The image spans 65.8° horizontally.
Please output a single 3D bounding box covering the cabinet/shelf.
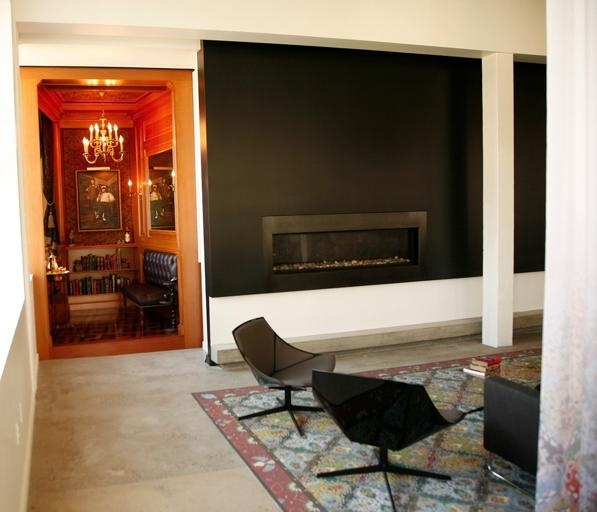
[{"bbox_3d":[-3.751,0.392,9.354,1.042,1.091,0.327,-4,-7,-18],"label":"cabinet/shelf"}]

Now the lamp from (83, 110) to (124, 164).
[{"bbox_3d":[-3.796,-2.289,8.946,0.757,1.076,0.762,-6,7,-28],"label":"lamp"}]

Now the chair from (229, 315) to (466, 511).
[{"bbox_3d":[0.212,1.086,3.735,0.967,0.866,2.307,-4,5,-31],"label":"chair"}]

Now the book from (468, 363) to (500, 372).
[{"bbox_3d":[1.872,1.107,4.581,0.139,0.037,0.138,-5,3,-45],"label":"book"}]

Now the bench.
[{"bbox_3d":[-2.650,0.592,8.121,0.559,1.323,1.955,-1,2,-30],"label":"bench"}]

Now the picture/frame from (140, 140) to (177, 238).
[{"bbox_3d":[-2.475,-1.212,8.202,0.131,1.943,1.691,-2,4,-33],"label":"picture/frame"}]
